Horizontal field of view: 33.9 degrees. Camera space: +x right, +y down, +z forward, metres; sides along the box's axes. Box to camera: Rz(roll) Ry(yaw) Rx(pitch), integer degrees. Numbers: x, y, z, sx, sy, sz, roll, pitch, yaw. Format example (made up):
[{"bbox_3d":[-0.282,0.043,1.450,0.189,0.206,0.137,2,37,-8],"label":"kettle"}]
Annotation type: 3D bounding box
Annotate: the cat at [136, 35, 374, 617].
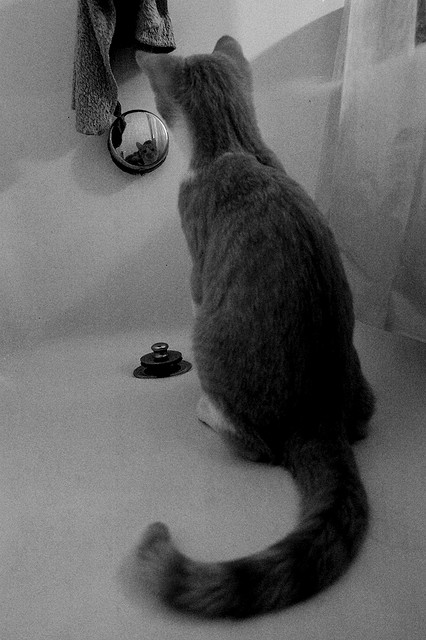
[{"bbox_3d":[0.063,-0.074,1.522,0.566,0.553,1.276,-3,46,-10],"label":"cat"}]
